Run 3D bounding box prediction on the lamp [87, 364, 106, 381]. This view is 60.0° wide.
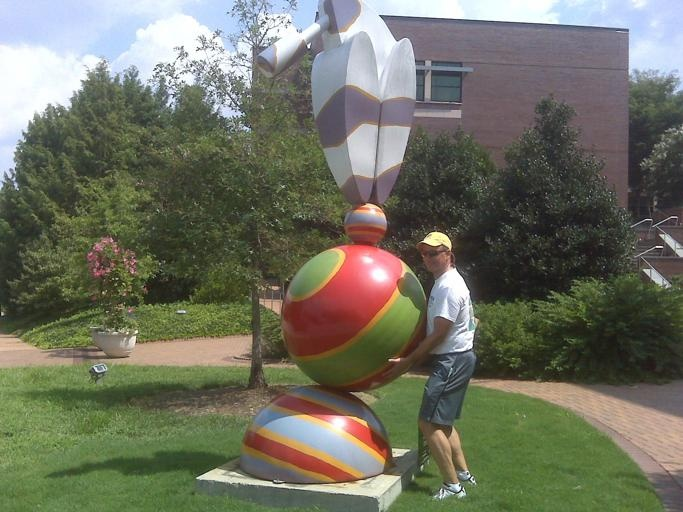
[{"bbox_3d":[-5.281,2.556,12.795,0.284,0.445,0.826,0,-1,-27],"label":"lamp"}]

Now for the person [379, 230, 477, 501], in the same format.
[{"bbox_3d":[1.180,1.273,7.094,0.744,3.093,0.734,0,0,32],"label":"person"}]

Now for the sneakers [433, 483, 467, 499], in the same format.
[{"bbox_3d":[1.258,2.735,6.939,0.408,0.209,0.161,-3,-9,-2],"label":"sneakers"}]

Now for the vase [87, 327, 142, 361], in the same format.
[{"bbox_3d":[-6.898,2.602,17.884,0.915,0.626,0.984,-3,-2,27],"label":"vase"}]
